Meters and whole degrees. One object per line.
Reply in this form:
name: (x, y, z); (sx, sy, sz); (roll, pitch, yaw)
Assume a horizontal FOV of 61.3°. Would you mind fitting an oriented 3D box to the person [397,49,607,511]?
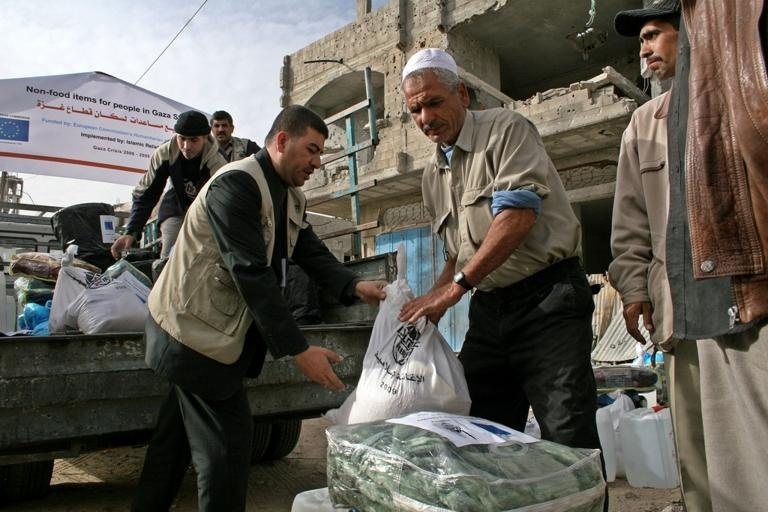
person: (0.637, -0.066, 3.561); (1.048, 2.151, 0.494); (1, -7, 15)
